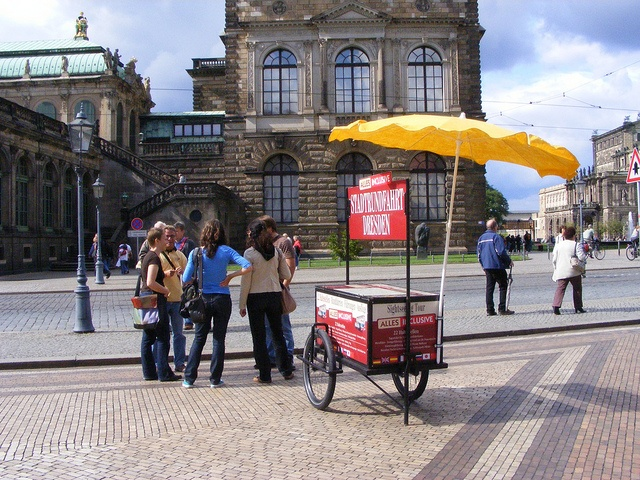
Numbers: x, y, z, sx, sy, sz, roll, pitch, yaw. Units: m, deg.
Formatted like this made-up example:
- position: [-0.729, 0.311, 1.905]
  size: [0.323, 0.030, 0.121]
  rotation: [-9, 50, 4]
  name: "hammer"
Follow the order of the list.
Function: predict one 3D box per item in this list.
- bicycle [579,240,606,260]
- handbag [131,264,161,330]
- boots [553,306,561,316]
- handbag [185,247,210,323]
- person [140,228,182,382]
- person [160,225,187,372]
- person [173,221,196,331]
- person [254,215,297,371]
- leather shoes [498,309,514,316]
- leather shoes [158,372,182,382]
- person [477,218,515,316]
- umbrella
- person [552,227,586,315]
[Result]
- position: [12.057, 0.407, 39.590]
  size: [1.511, 1.040, 0.759]
  rotation: [-3, 6, -25]
  name: "bicycle"
- position: [-3.787, 1.550, 19.425]
  size: [0.538, 0.764, 0.237]
  rotation: [-3, 3, -13]
  name: "handbag"
- position: [6.304, 1.890, 23.896]
  size: [0.163, 0.344, 0.174]
  rotation: [0, 7, -8]
  name: "boots"
- position: [-2.701, 0.960, 19.031]
  size: [0.474, 1.588, 0.372]
  rotation: [-2, 3, -10]
  name: "handbag"
- position: [-3.522, 1.351, 19.682]
  size: [0.860, 3.389, 0.894]
  rotation: [1, 3, -19]
  name: "person"
- position: [-3.310, 1.283, 20.262]
  size: [0.560, 3.073, 0.737]
  rotation: [2, 4, -14]
  name: "person"
- position: [-3.493, 0.655, 22.824]
  size: [0.643, 3.424, 0.828]
  rotation: [-1, 4, -19]
  name: "person"
- position: [-0.875, 1.114, 20.063]
  size: [0.913, 3.307, 0.862]
  rotation: [2, 3, -28]
  name: "person"
- position: [5.025, 1.943, 24.113]
  size: [0.373, 0.194, 0.146]
  rotation: [-1, 0, -5]
  name: "leather shoes"
- position: [-3.277, 2.992, 19.574]
  size: [0.468, 0.228, 0.173]
  rotation: [0, -3, -19]
  name: "leather shoes"
- position: [4.630, 0.645, 24.240]
  size: [0.832, 2.704, 0.950]
  rotation: [2, 4, -12]
  name: "person"
- position: [2.791, -1.984, 20.184]
  size: [4.739, 4.872, 5.193]
  rotation: [7, 4, -8]
  name: "umbrella"
- position: [6.712, 0.784, 24.140]
  size: [0.926, 2.370, 0.849]
  rotation: [0, 0, -32]
  name: "person"
